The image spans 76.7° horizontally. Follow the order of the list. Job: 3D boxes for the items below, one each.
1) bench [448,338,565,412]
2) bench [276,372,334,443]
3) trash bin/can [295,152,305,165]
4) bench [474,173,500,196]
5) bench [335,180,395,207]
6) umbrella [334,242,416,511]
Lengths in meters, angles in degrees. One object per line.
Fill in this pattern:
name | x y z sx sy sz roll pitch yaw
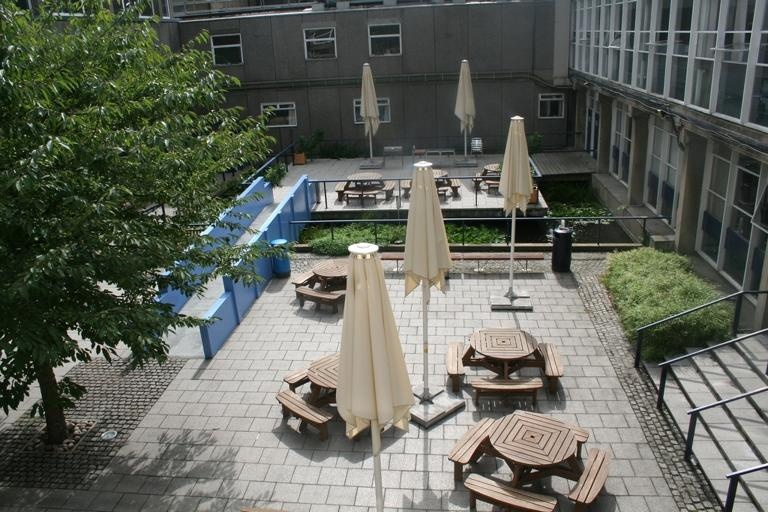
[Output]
bench | 2.586 2.415 10.420 2.448 0.866 1.444 0 26 9
bench | -1.566 3.145 9.819 1.332 0.498 0.599 14 31 34
trash bin/can | -4.665 -5.388 26.881 0.616 0.599 0.601 -1 12 -3
bench | 4.530 -3.232 21.134 0.918 0.951 1.537 -5 25 -1
bench | -0.794 -2.849 20.955 2.390 0.944 1.929 -10 26 -13
umbrella | -0.113 1.889 6.875 0.956 4.119 1.015 15 33 35
